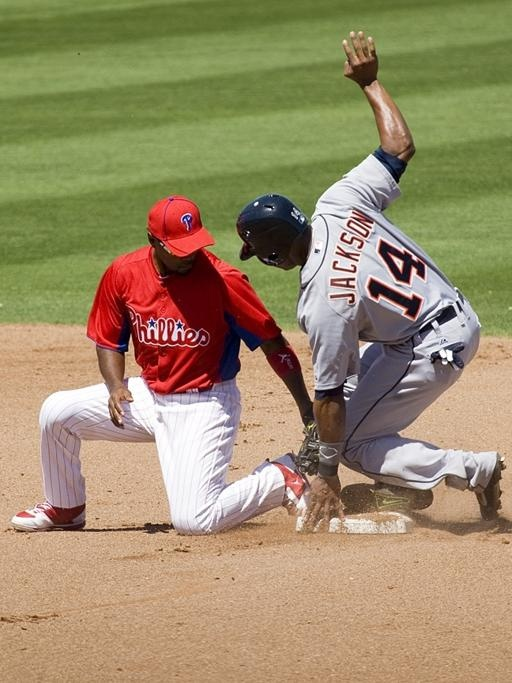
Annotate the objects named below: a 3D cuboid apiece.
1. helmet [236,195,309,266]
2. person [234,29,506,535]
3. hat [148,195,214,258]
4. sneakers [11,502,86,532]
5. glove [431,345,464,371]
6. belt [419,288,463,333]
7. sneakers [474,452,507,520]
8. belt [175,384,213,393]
[{"bbox_3d":[0.056,-0.429,3.901,0.317,0.204,0.202,-23,20,13],"label":"helmet"},{"bbox_3d":[0.510,-0.226,4.004,0.817,1.948,0.881,5,14,38],"label":"person"},{"bbox_3d":[-0.280,-0.466,4.022,0.220,0.137,0.293,-24,46,-21],"label":"hat"},{"bbox_3d":[-0.841,0.724,4.314,0.355,0.127,0.109,4,1,-10],"label":"sneakers"},{"bbox_3d":[0.730,0.057,3.932,0.115,0.037,0.105,-13,50,-16],"label":"glove"},{"bbox_3d":[0.712,-0.111,4.001,0.186,0.088,0.134,-29,11,10],"label":"belt"},{"bbox_3d":[0.878,0.579,4.040,0.090,0.250,0.169,10,18,0],"label":"sneakers"},{"bbox_3d":[-0.243,0.182,4.102,0.158,0.037,0.042,-3,10,-4],"label":"belt"}]
